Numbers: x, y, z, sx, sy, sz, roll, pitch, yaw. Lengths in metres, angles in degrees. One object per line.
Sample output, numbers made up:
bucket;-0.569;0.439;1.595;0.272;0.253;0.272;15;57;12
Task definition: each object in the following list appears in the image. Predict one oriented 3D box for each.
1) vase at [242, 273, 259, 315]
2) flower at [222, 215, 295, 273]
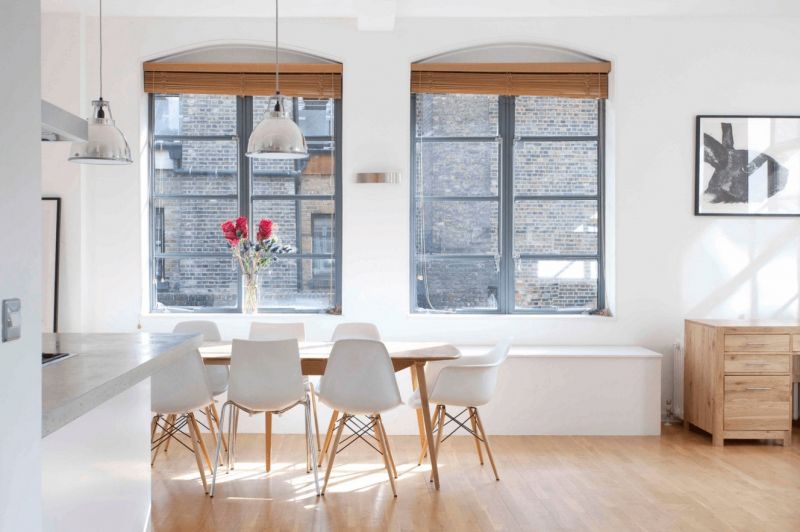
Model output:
vase;-1.451;0.266;7.133;0.144;0.365;0.162;1;13;4
flower;-1.428;-0.194;7.143;0.605;0.553;0.614;19;-1;-40
